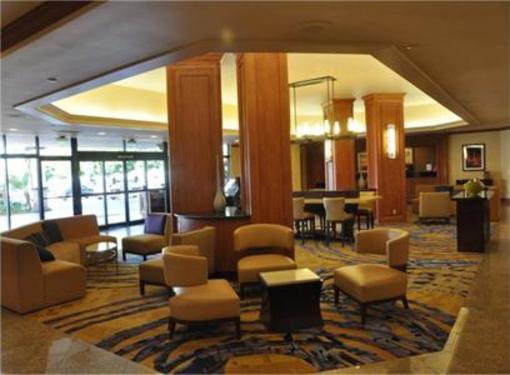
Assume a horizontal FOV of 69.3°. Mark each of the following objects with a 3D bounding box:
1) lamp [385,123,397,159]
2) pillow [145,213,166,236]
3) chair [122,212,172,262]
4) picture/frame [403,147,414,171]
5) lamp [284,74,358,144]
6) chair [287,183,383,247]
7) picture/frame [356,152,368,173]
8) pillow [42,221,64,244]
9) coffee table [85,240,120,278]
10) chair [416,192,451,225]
[{"bbox_3d":[4.108,-1.395,11.191,0.346,1.034,0.131,-5,9,-10],"label":"lamp"},{"bbox_3d":[-2.169,0.819,8.062,0.495,0.320,0.168,1,-31,40],"label":"pillow"},{"bbox_3d":[-2.287,1.041,7.961,0.796,0.858,0.908,3,7,42],"label":"chair"},{"bbox_3d":[6.757,-1.263,16.282,0.301,0.986,0.575,1,9,25],"label":"picture/frame"},{"bbox_3d":[1.920,-2.253,10.422,2.450,1.937,0.910,-3,-2,42],"label":"lamp"},{"bbox_3d":[2.113,0.902,9.333,2.150,0.924,1.295,-1,0,33],"label":"chair"},{"bbox_3d":[4.733,-1.123,16.492,0.387,0.847,0.776,-2,8,8],"label":"picture/frame"},{"bbox_3d":[-4.061,0.904,7.407,0.132,0.382,0.429,-24,2,28],"label":"pillow"},{"bbox_3d":[-3.017,1.359,7.270,0.697,0.669,0.722,-1,3,41],"label":"coffee table"},{"bbox_3d":[4.936,0.577,10.702,0.968,0.845,0.889,0,-4,-8],"label":"chair"}]
